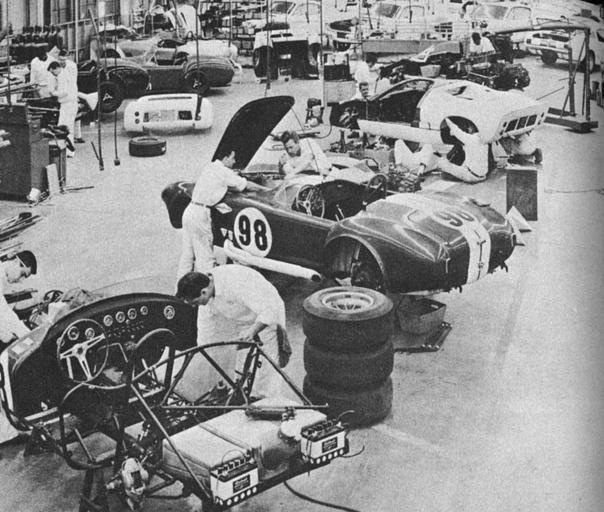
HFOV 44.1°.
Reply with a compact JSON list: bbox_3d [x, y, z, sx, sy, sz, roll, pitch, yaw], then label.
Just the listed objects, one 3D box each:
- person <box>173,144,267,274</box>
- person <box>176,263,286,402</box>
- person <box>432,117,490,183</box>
[{"bbox_3d":[-0.801,-0.421,7.368,0.763,1.471,0.630,-12,36,-32],"label":"person"},{"bbox_3d":[-0.438,0.655,5.375,0.696,1.251,1.045,-2,14,-1],"label":"person"},{"bbox_3d":[2.315,-1.620,10.929,0.737,1.289,0.941,6,9,14],"label":"person"}]
